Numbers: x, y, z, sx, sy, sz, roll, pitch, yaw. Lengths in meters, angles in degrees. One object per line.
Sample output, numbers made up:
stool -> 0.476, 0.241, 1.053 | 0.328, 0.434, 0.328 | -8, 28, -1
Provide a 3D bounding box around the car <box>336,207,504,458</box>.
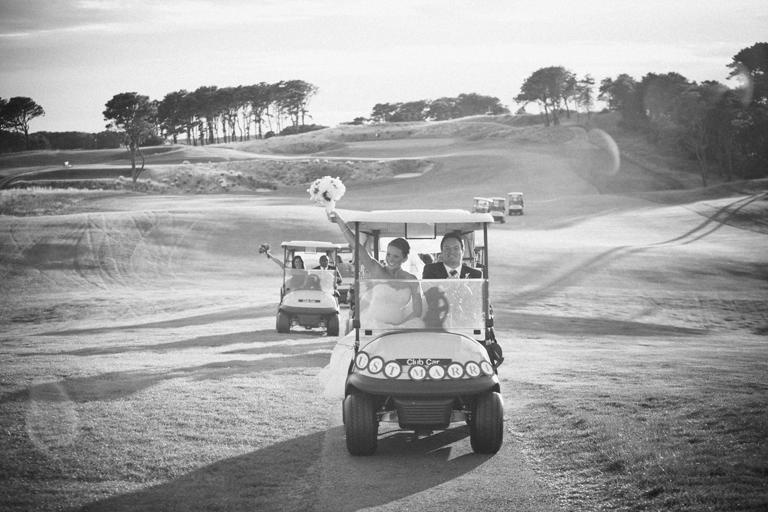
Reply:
car -> 0.582, 1.178, 13.567 | 2.596, 3.884, 2.184 | 0, 7, -3
